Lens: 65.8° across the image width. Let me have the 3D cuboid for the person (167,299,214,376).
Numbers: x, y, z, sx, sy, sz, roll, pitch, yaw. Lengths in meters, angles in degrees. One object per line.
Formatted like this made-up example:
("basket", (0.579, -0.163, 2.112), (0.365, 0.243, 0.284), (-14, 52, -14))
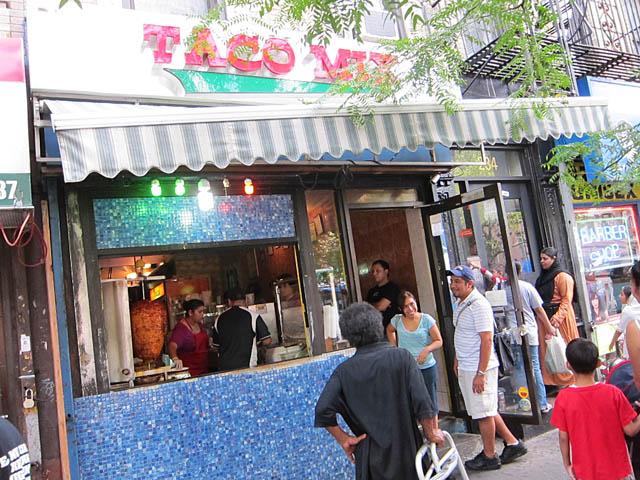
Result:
("person", (-1.718, 1.278, 6.407), (0.393, 0.974, 0.923), (-7, -3, 4))

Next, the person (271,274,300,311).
("person", (-0.447, 0.736, 6.719), (0.180, 0.332, 1.133), (-6, -4, -15))

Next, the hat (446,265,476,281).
("hat", (1.613, 0.369, 5.590), (0.274, 0.159, 0.204), (14, -9, -13))

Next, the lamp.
("lamp", (-1.233, -0.510, 5.346), (1.136, 0.363, 0.307), (-7, -3, -21))

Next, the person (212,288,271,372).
("person", (-1.060, 1.118, 6.263), (0.513, 0.692, 0.750), (-8, -3, 26))

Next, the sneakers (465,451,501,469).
("sneakers", (1.783, 2.455, 5.466), (0.374, 0.219, 0.173), (-2, -11, 19))
